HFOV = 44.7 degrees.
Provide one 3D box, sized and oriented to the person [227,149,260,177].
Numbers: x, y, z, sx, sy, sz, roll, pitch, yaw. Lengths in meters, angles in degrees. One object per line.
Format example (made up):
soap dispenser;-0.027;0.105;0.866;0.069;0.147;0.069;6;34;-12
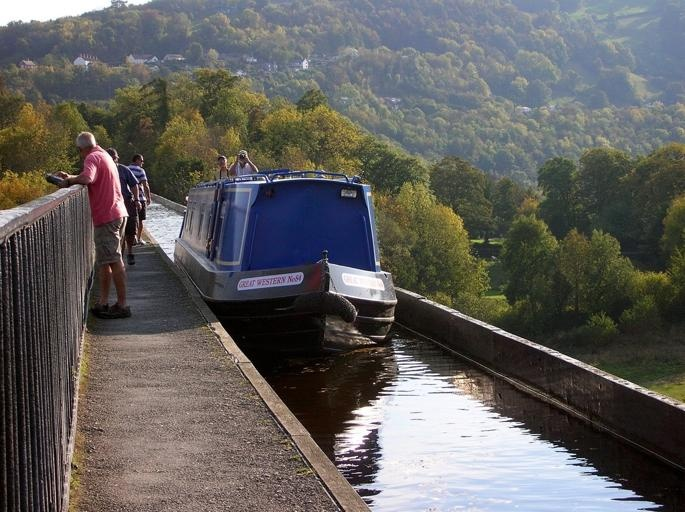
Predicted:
person;-2.160;-1.858;17.884;0.776;0.444;1.109;2;15;-1
